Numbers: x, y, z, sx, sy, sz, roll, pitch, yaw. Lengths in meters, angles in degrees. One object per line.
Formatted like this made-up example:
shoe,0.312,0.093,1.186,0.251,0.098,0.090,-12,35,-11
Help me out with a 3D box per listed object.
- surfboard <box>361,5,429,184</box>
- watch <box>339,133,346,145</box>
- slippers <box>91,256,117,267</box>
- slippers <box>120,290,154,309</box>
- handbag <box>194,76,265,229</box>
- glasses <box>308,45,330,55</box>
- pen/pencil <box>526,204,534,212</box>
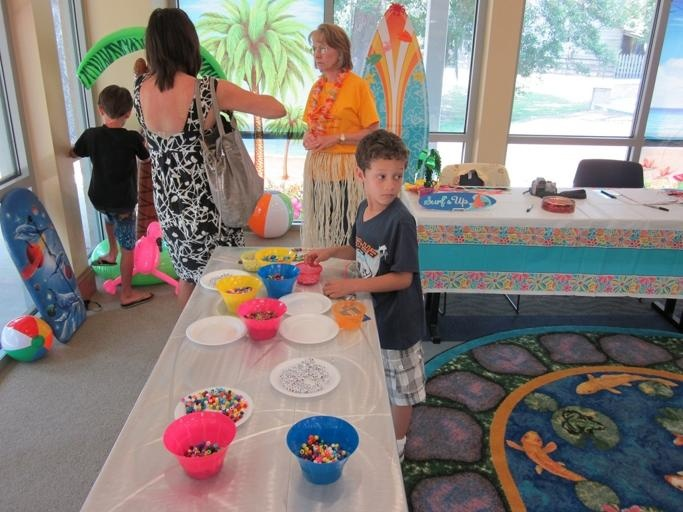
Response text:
surfboard,0.493,-1.225,3.965,0.495,1.560,0.185,-3,22,-6
watch,0.005,-0.730,2.923,0.051,0.068,0.018,0,4,-6
slippers,-1.915,0.033,3.782,0.156,0.057,0.084,-4,14,-32
slippers,-1.584,0.332,3.669,0.235,0.143,0.109,-19,29,-41
handbag,-0.513,-0.432,2.130,0.230,0.706,0.181,4,24,15
glasses,-0.141,-1.258,2.866,0.059,0.040,0.154,-14,25,-27
pen/pencil,1.188,-0.300,2.972,0.024,0.012,0.168,12,27,25
